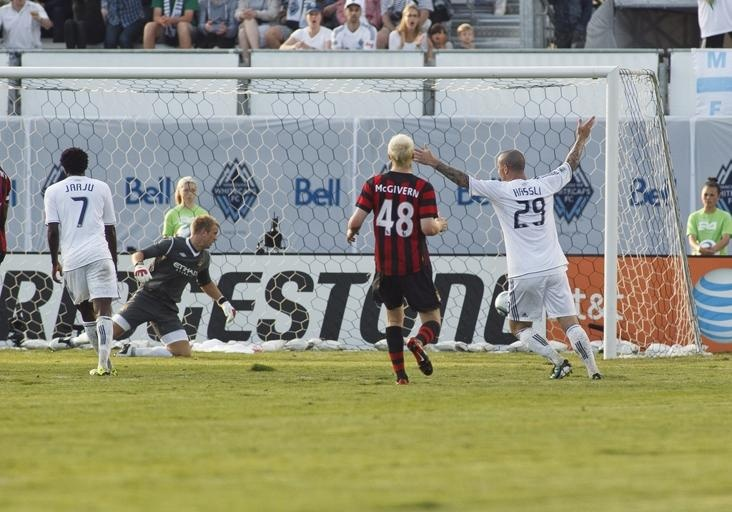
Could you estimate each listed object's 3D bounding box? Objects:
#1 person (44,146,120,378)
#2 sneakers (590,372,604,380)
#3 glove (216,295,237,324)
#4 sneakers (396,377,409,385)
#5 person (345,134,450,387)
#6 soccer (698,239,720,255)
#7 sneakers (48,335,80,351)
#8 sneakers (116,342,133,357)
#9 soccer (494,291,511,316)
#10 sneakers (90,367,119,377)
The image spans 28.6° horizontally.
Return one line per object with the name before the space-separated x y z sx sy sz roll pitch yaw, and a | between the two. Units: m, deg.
person | -2.909 0.050 14.752 0.695 2.328 0.393 -2 2 -13
sneakers | 2.314 1.206 14.445 0.051 0.064 0.144 -2 -1 36
glove | -1.476 0.615 15.685 0.135 0.310 0.230 -22 44 -13
sneakers | 0.357 1.238 14.252 0.075 0.057 0.188 0 2 -6
person | 0.345 0.035 14.218 0.886 2.464 0.389 -1 2 1
soccer | 4.090 -0.113 17.245 0.164 0.199 0.105 2 -4 13
sneakers | -3.588 1.030 17.012 0.425 0.137 0.157 -7 1 14
sneakers | -2.786 1.086 16.533 0.099 0.125 0.293 6 -6 -34
soccer | 1.408 0.506 14.809 0.193 0.243 0.245 4 22 4
sneakers | -2.683 1.189 14.737 0.263 0.123 0.105 5 0 -5
